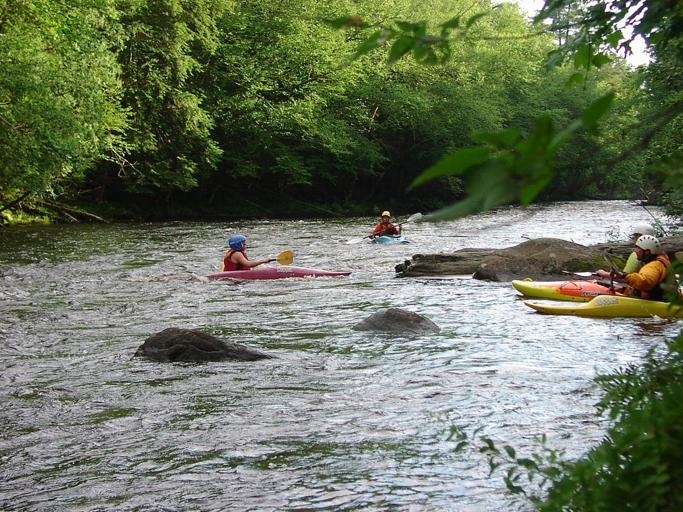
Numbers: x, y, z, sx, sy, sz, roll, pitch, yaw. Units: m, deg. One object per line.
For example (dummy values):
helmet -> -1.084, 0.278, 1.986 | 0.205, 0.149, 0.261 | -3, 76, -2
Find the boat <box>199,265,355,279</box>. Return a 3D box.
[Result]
boat -> -1.346, 0.331, 14.736 | 3.275, 0.192, 0.240 | 1, 20, -7

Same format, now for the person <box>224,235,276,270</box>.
person -> -1.990, -0.049, 14.775 | 0.761, 0.738, 1.119 | 1, 10, -8

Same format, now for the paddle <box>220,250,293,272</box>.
paddle -> -1.553, 0.078, 14.799 | 1.685, 0.398, 0.439 | 0, 32, 0
